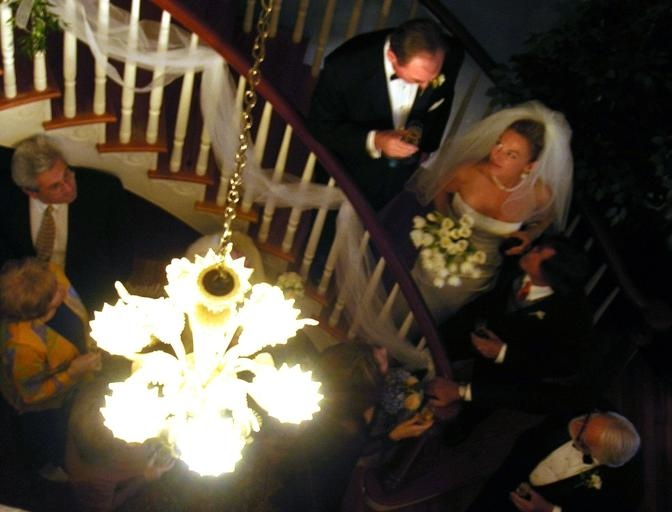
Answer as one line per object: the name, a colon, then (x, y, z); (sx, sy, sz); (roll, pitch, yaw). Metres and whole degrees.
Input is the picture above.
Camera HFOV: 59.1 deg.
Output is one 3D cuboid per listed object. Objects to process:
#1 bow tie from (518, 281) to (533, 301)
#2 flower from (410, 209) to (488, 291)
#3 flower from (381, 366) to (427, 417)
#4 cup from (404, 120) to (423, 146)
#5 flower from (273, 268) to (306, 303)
bow tie: (1.203, 0.226, 3.770); (0.064, 0.114, 0.024); (27, 21, 38)
flower: (0.773, -0.012, 4.139); (0.477, 0.486, 0.488); (48, 15, 11)
flower: (0.476, 0.952, 4.196); (0.316, 0.318, 0.094); (48, 8, -2)
cup: (0.449, -0.711, 3.440); (0.106, 0.114, 0.169); (15, 32, -4)
flower: (-0.289, 0.198, 3.953); (0.178, 0.192, 0.089); (-24, 15, 4)
